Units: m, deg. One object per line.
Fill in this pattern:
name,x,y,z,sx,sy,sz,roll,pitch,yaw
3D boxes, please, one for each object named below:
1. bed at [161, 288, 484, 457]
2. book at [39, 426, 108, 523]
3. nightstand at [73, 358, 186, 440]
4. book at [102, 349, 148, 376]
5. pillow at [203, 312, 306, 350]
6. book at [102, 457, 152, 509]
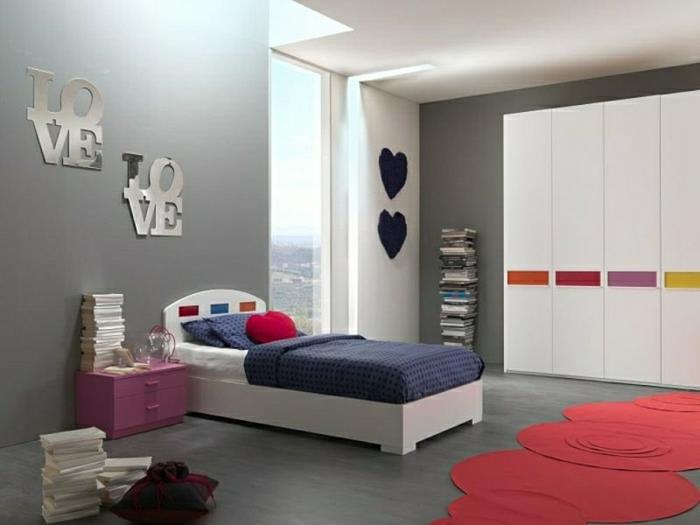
bed,-0.326,0.730,3.938,2.181,0.978,1.220,0,0,31
book,-1.349,1.023,2.337,0.273,0.383,0.205,1,-2,-30
nightstand,-1.674,0.840,3.624,0.431,0.478,0.758,-1,-1,35
book,-1.673,0.716,3.539,0.192,0.088,0.204,-4,-3,34
pillow,-0.685,0.582,4.290,0.471,0.216,0.475,-11,17,-42
book,-1.130,1.090,2.425,0.220,0.077,0.223,0,-2,-27
